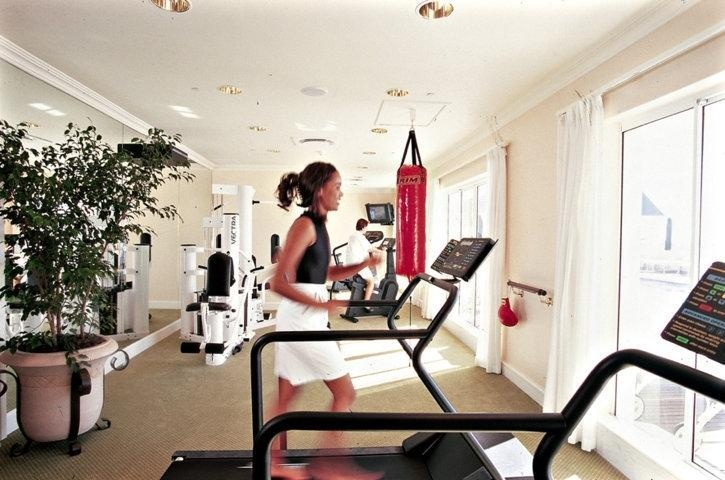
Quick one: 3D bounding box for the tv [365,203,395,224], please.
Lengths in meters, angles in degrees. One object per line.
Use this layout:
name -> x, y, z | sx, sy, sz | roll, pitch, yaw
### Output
tv -> 0.337, -0.474, 8.884 | 0.613, 0.355, 0.477 | 1, -4, 31
